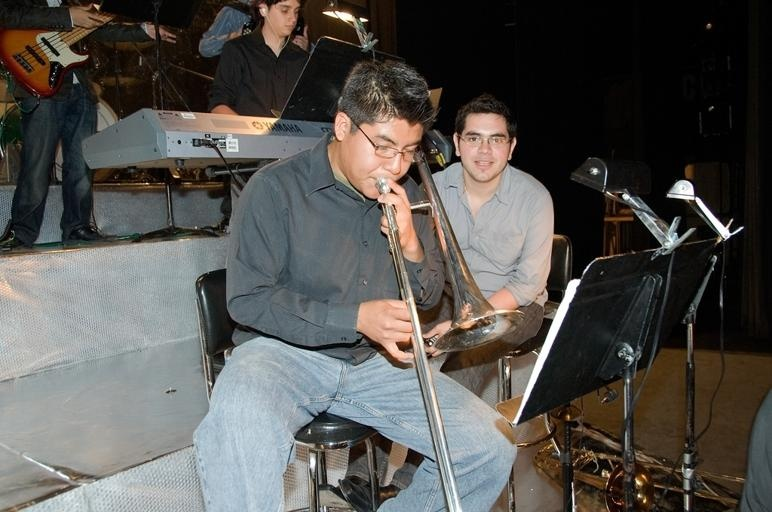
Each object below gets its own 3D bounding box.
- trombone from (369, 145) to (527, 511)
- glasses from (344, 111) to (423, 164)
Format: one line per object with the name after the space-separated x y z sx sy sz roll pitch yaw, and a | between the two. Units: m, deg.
0.173 0.166 2.303 0.451 1.458 0.401 -33 -34 31 | trombone
-0.017 -0.462 2.361 0.216 0.074 0.210 44 30 17 | glasses
